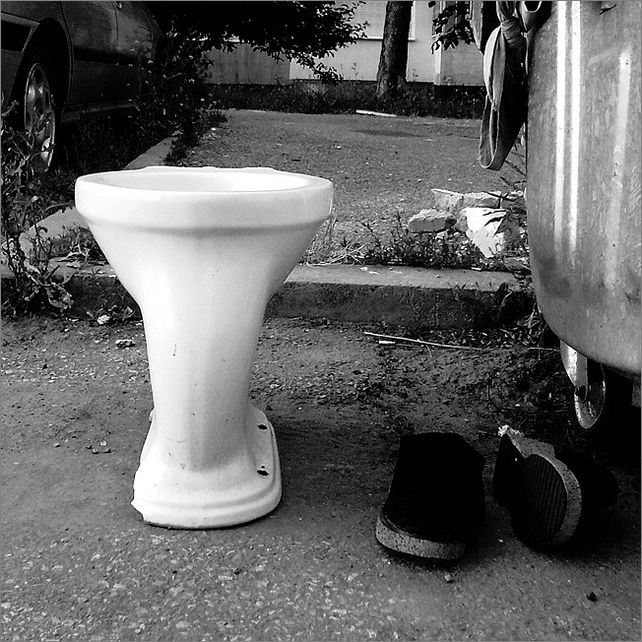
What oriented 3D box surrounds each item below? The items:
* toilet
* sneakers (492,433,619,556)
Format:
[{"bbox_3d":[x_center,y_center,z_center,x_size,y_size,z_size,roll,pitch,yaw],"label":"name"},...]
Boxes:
[{"bbox_3d":[-0.262,-0.047,1.429,0.417,0.668,0.663,-1,25,-16],"label":"toilet"},{"bbox_3d":[0.410,0.307,1.242,0.231,0.180,0.204,13,22,28],"label":"sneakers"}]
